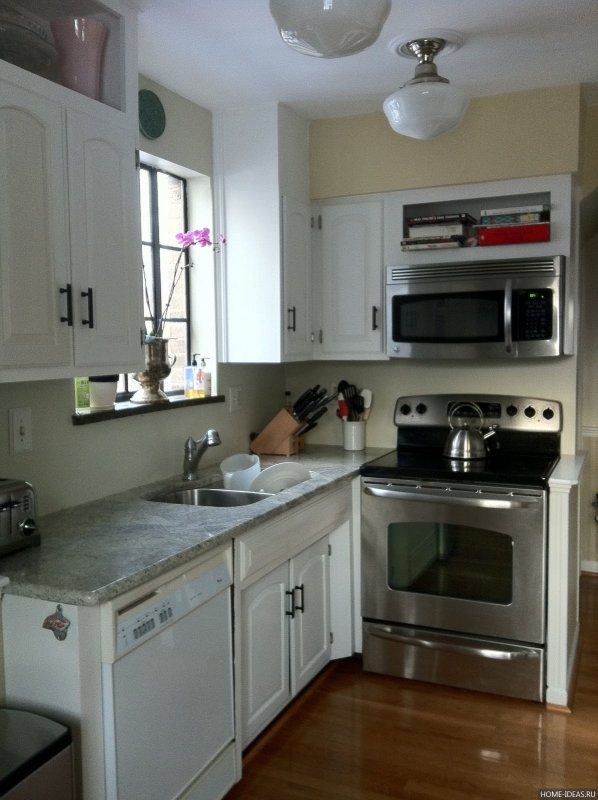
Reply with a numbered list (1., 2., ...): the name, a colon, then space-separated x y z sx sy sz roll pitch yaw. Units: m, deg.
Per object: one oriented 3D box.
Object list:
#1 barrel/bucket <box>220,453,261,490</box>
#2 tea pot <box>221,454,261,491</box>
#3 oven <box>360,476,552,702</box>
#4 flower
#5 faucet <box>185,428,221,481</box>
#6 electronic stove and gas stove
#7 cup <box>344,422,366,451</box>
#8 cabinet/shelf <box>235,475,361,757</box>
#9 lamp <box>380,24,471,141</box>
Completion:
1. barrel/bucket: -0.221 0.249 2.545 0.108 0.099 0.140 2 28 11
2. tea pot: -0.218 0.262 2.552 0.110 0.100 0.143 2 27 11
3. oven: 0.634 0.633 2.846 0.819 1.012 0.705 0 0 25
4. flower: -0.452 -0.470 2.644 0.297 0.443 0.421 0 4 -3
5. faucet: -0.361 0.198 2.468 0.176 0.183 0.065 2 4 21
6. electronic stove and gas stove: 0.667 0.147 2.738 0.732 0.306 0.642 2 4 23
7. cup: 0.260 0.174 3.263 0.125 0.140 0.124 0 8 0
8. cabinet/shelf: -0.015 0.720 2.240 0.383 0.666 0.767 0 5 18
9. lamp: 0.388 -0.993 2.186 0.277 0.344 0.275 -5 5 -24
